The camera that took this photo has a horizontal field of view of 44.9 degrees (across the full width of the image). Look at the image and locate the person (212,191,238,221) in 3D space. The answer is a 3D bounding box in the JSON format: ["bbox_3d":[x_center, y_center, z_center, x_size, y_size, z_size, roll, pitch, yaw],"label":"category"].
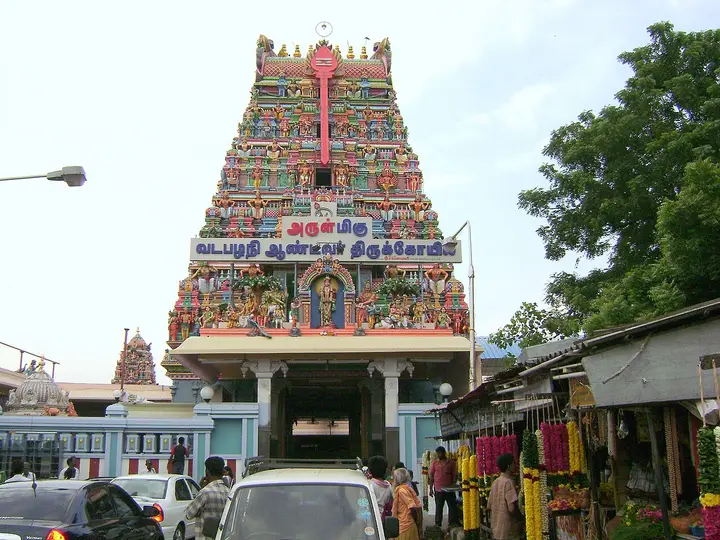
[{"bbox_3d":[-6.728,-3.174,43.638,1.222,1.619,0.776,4,-21,-12],"label":"person"}]

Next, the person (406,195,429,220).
[{"bbox_3d":[2.971,-3.125,43.884,1.137,1.674,0.745,-2,-20,4],"label":"person"}]

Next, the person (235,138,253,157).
[{"bbox_3d":[-6.075,-6.350,45.579,0.931,1.351,0.699,1,-20,-3],"label":"person"}]

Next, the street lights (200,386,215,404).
[{"bbox_3d":[-4.557,3.646,26.027,0.328,0.534,1.428,2,-21,-7],"label":"street lights"}]

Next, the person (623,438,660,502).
[{"bbox_3d":[4.786,3.437,14.778,0.613,0.799,0.242,-11,-32,36],"label":"person"}]

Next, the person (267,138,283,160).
[{"bbox_3d":[-4.444,-6.325,45.661,0.763,1.591,0.745,2,-20,-7],"label":"person"}]

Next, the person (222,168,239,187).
[{"bbox_3d":[-6.657,-4.726,44.666,0.831,1.068,0.394,-6,-21,13],"label":"person"}]

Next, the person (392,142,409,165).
[{"bbox_3d":[2.214,-6.142,46.044,0.820,1.676,0.661,8,-22,-22],"label":"person"}]

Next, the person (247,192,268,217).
[{"bbox_3d":[-5.062,-3.213,43.647,0.951,1.482,0.484,3,-20,-9],"label":"person"}]

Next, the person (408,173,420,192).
[{"bbox_3d":[2.872,-4.516,45.144,0.816,1.045,0.818,-2,-18,6],"label":"person"}]

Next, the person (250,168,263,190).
[{"bbox_3d":[-5.228,-4.613,44.564,0.510,1.241,0.372,2,-20,-7],"label":"person"}]

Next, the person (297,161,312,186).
[{"bbox_3d":[-2.767,-4.791,44.178,0.800,1.444,0.565,-3,-20,8],"label":"person"}]

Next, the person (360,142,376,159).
[{"bbox_3d":[0.427,-6.288,46.146,0.925,1.206,0.680,0,-21,-2],"label":"person"}]
